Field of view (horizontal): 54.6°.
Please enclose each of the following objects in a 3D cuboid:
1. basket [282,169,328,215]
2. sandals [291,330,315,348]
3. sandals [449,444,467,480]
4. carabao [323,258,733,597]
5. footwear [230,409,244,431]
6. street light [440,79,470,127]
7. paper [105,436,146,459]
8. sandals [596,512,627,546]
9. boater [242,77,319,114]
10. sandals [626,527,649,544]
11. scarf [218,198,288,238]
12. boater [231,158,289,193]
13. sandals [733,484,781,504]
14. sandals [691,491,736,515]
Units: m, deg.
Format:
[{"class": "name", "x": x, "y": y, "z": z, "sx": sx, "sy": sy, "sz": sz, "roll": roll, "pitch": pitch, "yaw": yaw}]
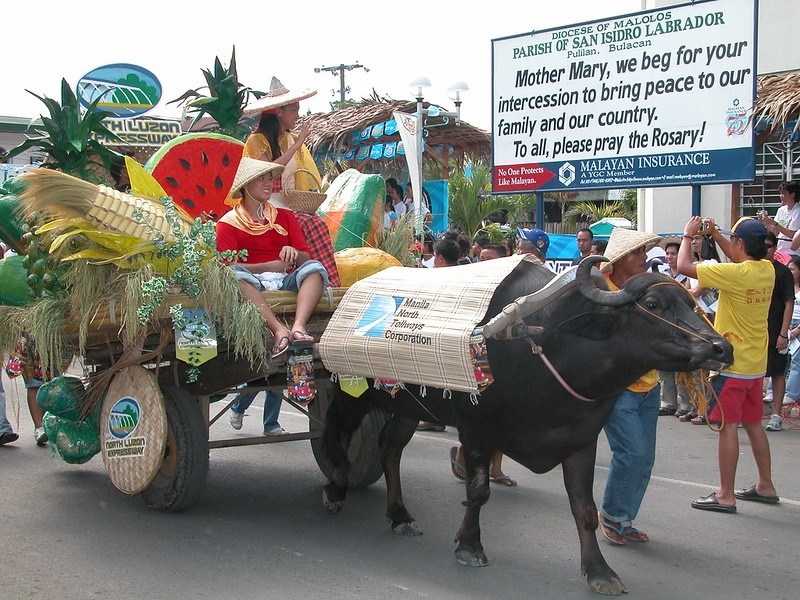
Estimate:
[{"class": "basket", "x": -0.987, "y": -1.043, "z": 7.542, "sx": 0.496, "sy": 0.464, "sz": 0.428, "roll": 3, "pitch": 7, "yaw": 24}, {"class": "sandals", "x": -0.741, "y": 0.298, "z": 5.837, "sx": 0.159, "sy": 0.127, "sz": 0.119, "roll": 0, "pitch": 6, "yaw": -6}, {"class": "sandals", "x": 0.558, "y": 1.596, "z": 7.683, "sx": 0.144, "sy": 0.084, "sz": 0.347, "roll": -8, "pitch": 46, "yaw": -12}, {"class": "carabao", "x": 1.496, "y": 1.055, "z": 6.036, "sx": 2.105, "sy": 2.612, "sz": 3.532, "roll": 4, "pitch": 11, "yaw": -17}, {"class": "footwear", "x": -2.002, "y": 1.475, "z": 9.578, "sx": 0.113, "sy": 0.136, "sz": 0.322, "roll": 13, "pitch": 11, "yaw": -37}, {"class": "street light", "x": 1.222, "y": -4.264, "z": 16.671, "sx": 0.454, "sy": 0.887, "sz": 0.434, "roll": -2, "pitch": 3, "yaw": -31}, {"class": "paper", "x": -2.274, "y": 1.223, "z": 6.438, "sx": 0.524, "sy": 0.225, "sz": 0.035, "roll": 4, "pitch": 7, "yaw": 34}, {"class": "sandals", "x": 1.670, "y": 1.811, "z": 6.171, "sx": 0.119, "sy": 0.085, "sz": 0.322, "roll": -9, "pitch": 21, "yaw": -21}, {"class": "boater", "x": -1.144, "y": -1.967, "z": 7.225, "sx": 0.671, "sy": 0.212, "sz": 0.658, "roll": -4, "pitch": 11, "yaw": 32}, {"class": "sandals", "x": 1.867, "y": 1.863, "z": 6.168, "sx": 0.181, "sy": 0.066, "sz": 0.103, "roll": 0, "pitch": 4, "yaw": 38}, {"class": "scarf", "x": -1.254, "y": -0.694, "z": 6.650, "sx": 0.565, "sy": 0.292, "sz": 0.246, "roll": -1, "pitch": 6, "yaw": -16}, {"class": "boater", "x": -1.214, "y": -1.028, "z": 6.551, "sx": 0.434, "sy": 0.331, "sz": 0.240, "roll": -1, "pitch": 6, "yaw": -11}, {"class": "sandals", "x": 3.236, "y": 1.786, "z": 7.066, "sx": 0.290, "sy": 0.103, "sz": 0.175, "roll": 2, "pitch": -6, "yaw": 18}, {"class": "sandals", "x": 2.752, "y": 1.791, "z": 6.844, "sx": 0.312, "sy": 0.120, "sz": 0.159, "roll": 3, "pitch": -9, "yaw": 16}]
